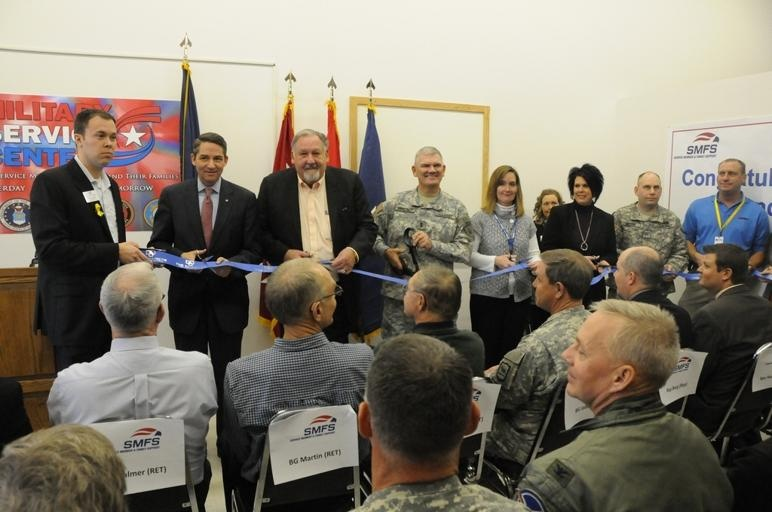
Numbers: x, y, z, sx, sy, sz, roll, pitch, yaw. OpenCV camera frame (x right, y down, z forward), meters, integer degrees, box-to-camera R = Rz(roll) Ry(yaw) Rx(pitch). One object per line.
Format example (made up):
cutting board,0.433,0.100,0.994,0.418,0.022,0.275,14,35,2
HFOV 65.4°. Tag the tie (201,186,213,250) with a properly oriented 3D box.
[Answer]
tie,-1.274,-0.301,4.256,0.095,0.407,0.045,-1,-32,-11

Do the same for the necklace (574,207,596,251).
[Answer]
necklace,1.775,-0.220,5.429,0.166,0.353,0.165,3,9,11

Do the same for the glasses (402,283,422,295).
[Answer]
glasses,0.160,0.187,3.386,0.092,0.095,0.083,-3,-4,39

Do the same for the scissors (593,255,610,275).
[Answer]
scissors,1.878,0.076,5.263,0.124,0.076,0.191,43,5,-6

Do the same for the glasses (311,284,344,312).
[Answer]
glasses,-0.271,0.218,3.058,0.151,0.045,0.146,-26,7,-15

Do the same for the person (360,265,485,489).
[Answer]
person,0.296,0.398,3.397,0.722,0.708,0.505,-5,17,-32

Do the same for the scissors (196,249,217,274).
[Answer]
scissors,-1.230,0.021,4.127,0.071,0.090,0.225,3,-12,-27
